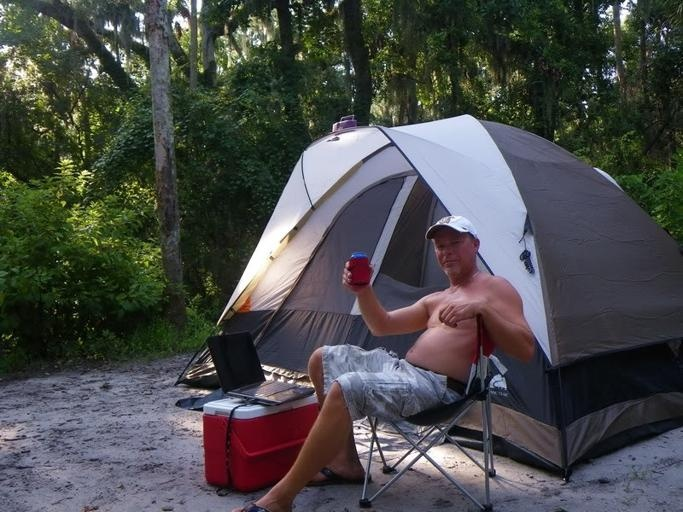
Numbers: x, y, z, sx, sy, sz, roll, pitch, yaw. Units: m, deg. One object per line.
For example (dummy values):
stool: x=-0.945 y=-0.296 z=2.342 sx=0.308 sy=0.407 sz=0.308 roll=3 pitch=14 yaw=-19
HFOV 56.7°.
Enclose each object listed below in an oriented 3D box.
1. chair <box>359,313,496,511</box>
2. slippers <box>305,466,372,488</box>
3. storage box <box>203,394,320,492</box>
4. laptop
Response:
chair: x=0.613 y=1.125 z=4.801 sx=1.010 sy=1.790 sz=1.159 roll=1 pitch=-11 yaw=4
slippers: x=-0.045 y=1.522 z=4.441 sx=0.410 sy=0.120 sz=0.174 roll=3 pitch=-8 yaw=-5
storage box: x=-0.613 y=1.239 z=4.520 sx=0.484 sy=0.674 sz=0.840 roll=-2 pitch=-3 yaw=36
laptop: x=-0.630 y=0.855 z=4.680 sx=0.579 sy=0.435 sz=0.501 roll=-8 pitch=-4 yaw=40
